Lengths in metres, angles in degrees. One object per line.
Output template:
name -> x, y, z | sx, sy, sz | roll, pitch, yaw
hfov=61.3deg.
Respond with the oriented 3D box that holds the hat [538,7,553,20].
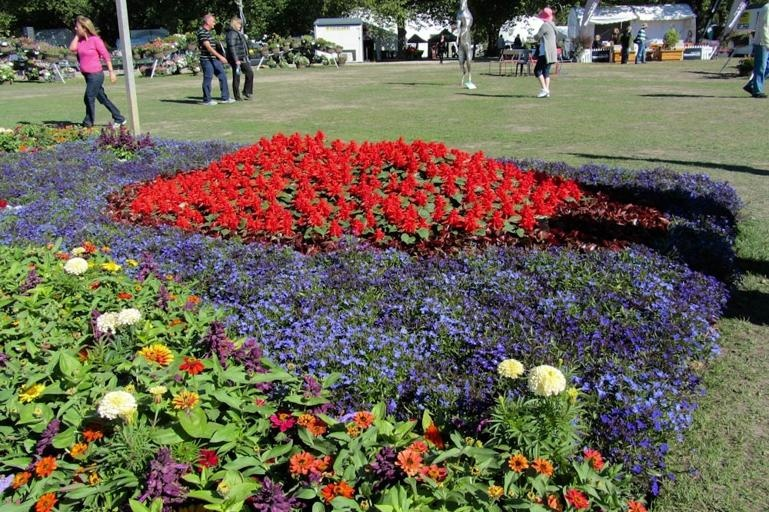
hat -> 4.257, -6.350, 17.051 | 0.307, 0.311, 0.676 | 6, 26, 10
